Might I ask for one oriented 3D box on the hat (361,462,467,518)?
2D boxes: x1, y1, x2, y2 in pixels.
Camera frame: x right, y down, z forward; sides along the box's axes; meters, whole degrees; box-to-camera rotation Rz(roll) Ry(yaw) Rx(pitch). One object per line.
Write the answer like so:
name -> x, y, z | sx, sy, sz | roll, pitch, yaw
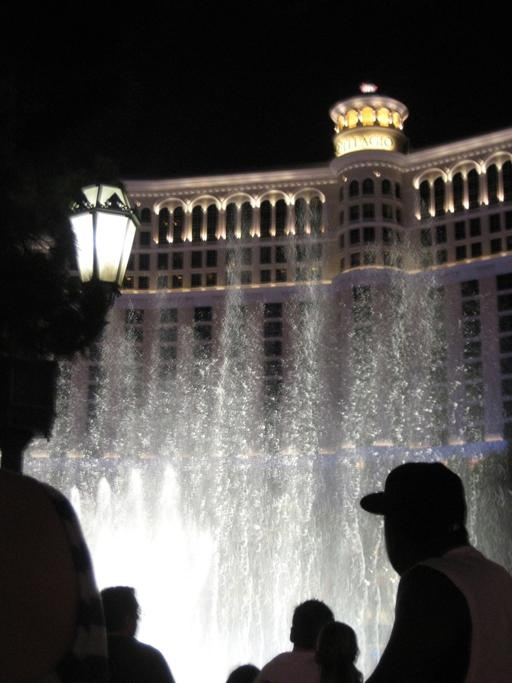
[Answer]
hat -> 0.376, 0.346, 1.976 | 0.170, 0.123, 0.144 | 1, -16, 27
